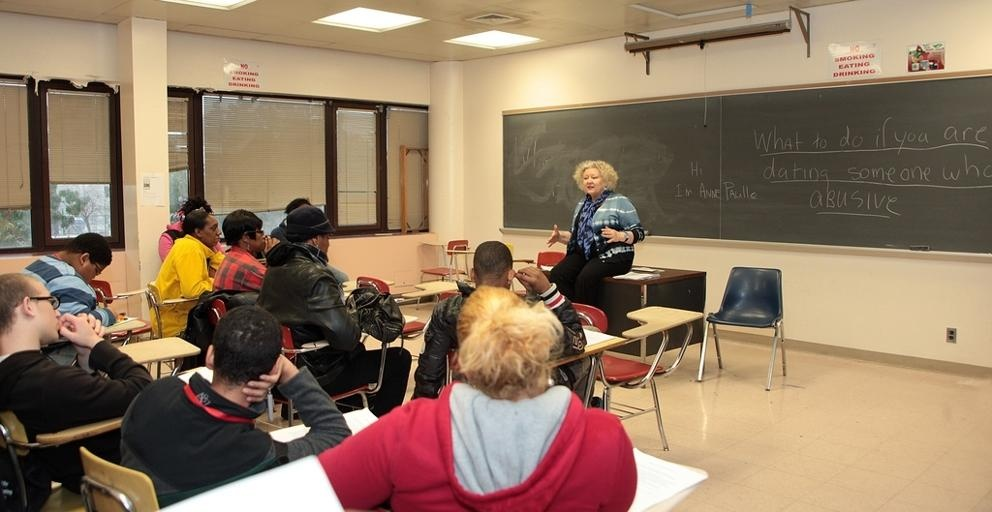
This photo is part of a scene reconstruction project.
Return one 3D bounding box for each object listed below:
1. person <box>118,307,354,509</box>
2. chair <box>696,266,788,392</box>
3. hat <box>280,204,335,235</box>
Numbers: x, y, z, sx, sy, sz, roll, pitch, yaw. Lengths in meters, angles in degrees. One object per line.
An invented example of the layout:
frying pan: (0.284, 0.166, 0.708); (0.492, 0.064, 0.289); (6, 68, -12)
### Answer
person: (-1.561, 0.854, 3.399); (1.200, 1.083, 0.434); (-6, 9, -24)
chair: (3.025, 0.770, 7.050); (0.944, 1.259, 1.497); (1, 9, 25)
hat: (-1.633, -0.340, 5.221); (0.286, 0.177, 0.358); (6, 10, 26)
